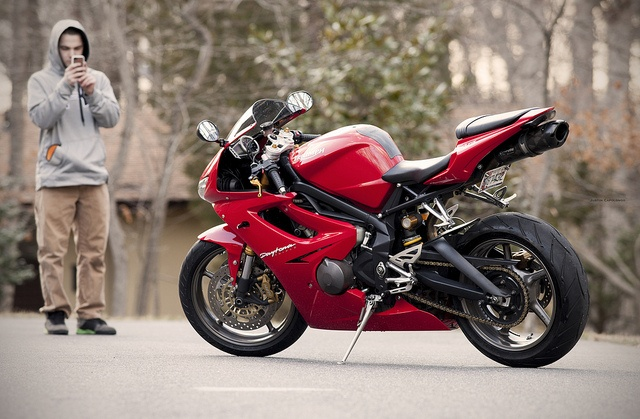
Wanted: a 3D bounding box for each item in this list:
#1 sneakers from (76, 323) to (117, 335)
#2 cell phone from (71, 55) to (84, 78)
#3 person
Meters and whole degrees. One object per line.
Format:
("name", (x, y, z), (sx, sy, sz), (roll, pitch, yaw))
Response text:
("sneakers", (-2.549, 1.391, 8.357), (0.422, 0.152, 0.145), (0, 0, -6))
("cell phone", (-2.603, -1.589, 7.897), (0.144, 0.120, 0.136), (2, -2, -1))
("person", (-2.769, -0.331, 8.222), (0.950, 3.580, 0.556), (0, 6, -21))
